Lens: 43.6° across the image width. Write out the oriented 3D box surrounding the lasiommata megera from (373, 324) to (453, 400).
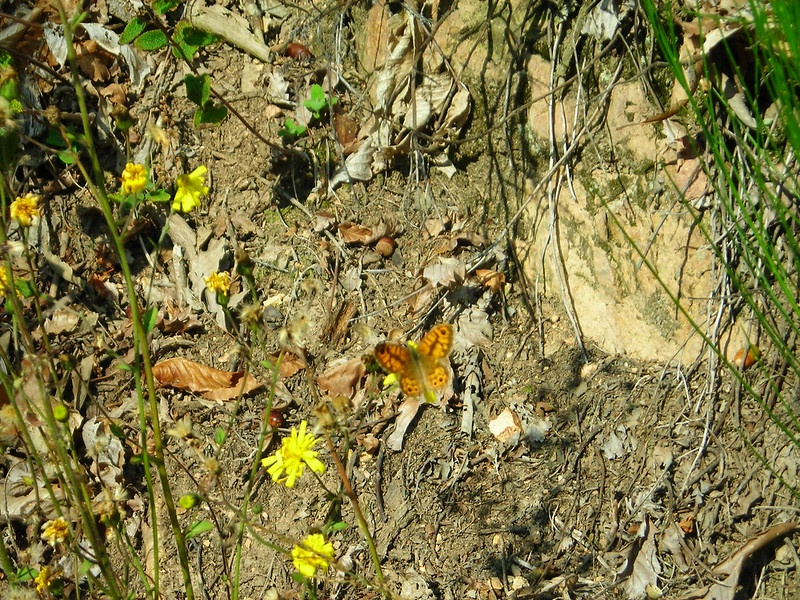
[{"bbox_3d":[0.069,0.218,3.687,0.369,0.256,0.156,-31,58,-24],"label":"lasiommata megera"}]
